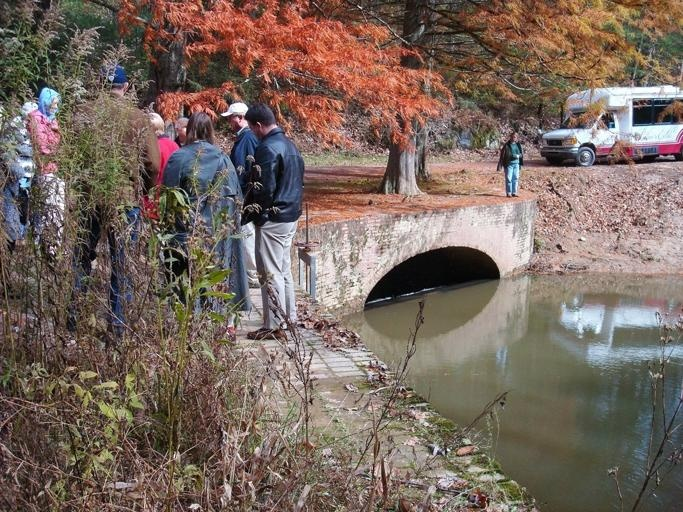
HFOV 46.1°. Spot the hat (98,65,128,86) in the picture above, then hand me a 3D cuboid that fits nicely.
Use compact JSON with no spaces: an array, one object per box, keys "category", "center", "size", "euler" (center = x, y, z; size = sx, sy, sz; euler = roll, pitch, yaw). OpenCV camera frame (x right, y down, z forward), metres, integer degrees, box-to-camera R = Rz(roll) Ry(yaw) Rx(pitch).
[{"category":"hat","center":[-1.498,-1.175,5.235],"size":[0.176,0.111,0.264],"euler":[-16,30,-5]}]

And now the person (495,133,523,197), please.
[{"category":"person","center":[3.672,-1.973,17.494],"size":[0.450,1.373,0.843],"euler":[3,10,11]}]

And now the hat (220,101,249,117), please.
[{"category":"hat","center":[-1.030,-1.409,7.721],"size":[0.270,0.182,0.217],"euler":[2,13,-8]}]

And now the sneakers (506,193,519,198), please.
[{"category":"sneakers","center":[3.718,-1.308,17.577],"size":[0.152,0.079,0.055],"euler":[-11,33,0]}]
